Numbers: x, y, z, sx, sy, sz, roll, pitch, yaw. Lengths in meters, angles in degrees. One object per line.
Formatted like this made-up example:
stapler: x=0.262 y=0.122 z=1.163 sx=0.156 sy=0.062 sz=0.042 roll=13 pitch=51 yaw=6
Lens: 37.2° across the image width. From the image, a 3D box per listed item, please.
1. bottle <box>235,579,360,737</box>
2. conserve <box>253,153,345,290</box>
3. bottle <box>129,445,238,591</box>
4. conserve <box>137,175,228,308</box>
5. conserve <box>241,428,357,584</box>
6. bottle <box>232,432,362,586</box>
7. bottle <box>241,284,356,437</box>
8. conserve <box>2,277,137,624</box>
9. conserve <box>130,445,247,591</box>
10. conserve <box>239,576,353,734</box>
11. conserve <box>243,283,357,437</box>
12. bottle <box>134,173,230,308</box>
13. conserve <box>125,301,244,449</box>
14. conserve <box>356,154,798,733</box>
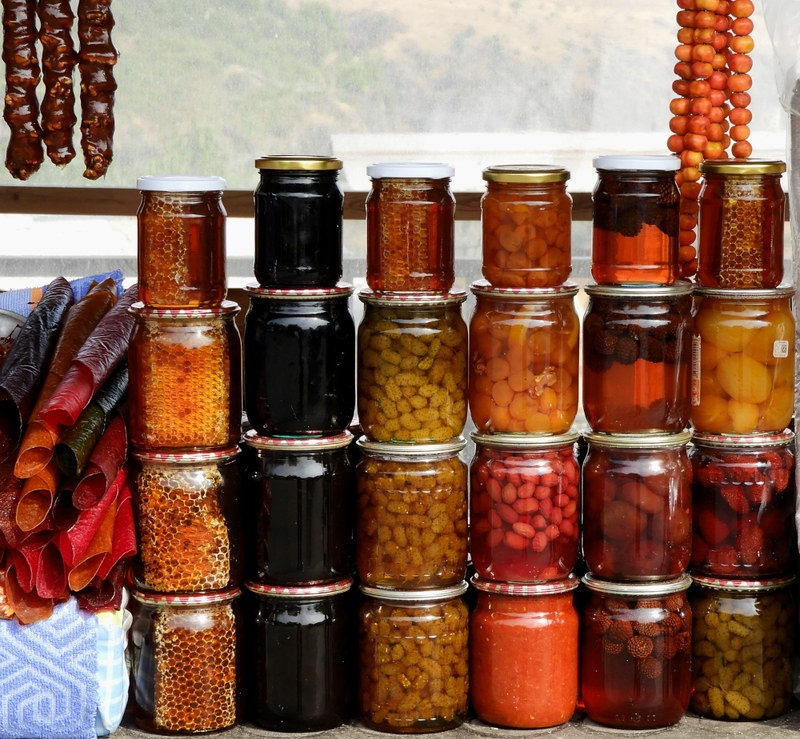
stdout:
bottle: x=-0.257 y=0.570 z=2.482 sx=0.301 sy=0.355 sz=0.268 roll=0 pitch=2 yaw=-9
conserve: x=-0.201 y=-0.286 z=2.356 sx=0.178 sy=0.255 sz=0.073 roll=-3 pitch=11 yaw=-4
bottle: x=-0.421 y=0.308 z=2.363 sx=0.211 sy=0.255 sz=0.105 roll=-4 pitch=11 yaw=-12
conserve: x=-0.439 y=-0.253 z=2.396 sx=0.186 sy=0.248 sz=0.170 roll=0 pitch=9 yaw=2
conserve: x=-0.191 y=0.279 z=2.543 sx=0.300 sy=0.344 sz=0.272 roll=0 pitch=0 yaw=17
bottle: x=-0.192 y=0.279 z=2.552 sx=0.302 sy=0.359 sz=0.274 roll=0 pitch=1 yaw=15
bottle: x=-0.202 y=-0.020 z=2.456 sx=0.243 sy=0.301 sz=0.222 roll=1 pitch=12 yaw=0
conserve: x=-0.692 y=0.123 z=2.416 sx=0.174 sy=0.751 sz=0.131 roll=-10 pitch=-42 yaw=33
conserve: x=-0.430 y=0.309 z=2.430 sx=0.223 sy=0.283 sz=0.211 roll=-4 pitch=-1 yaw=14
conserve: x=-0.205 y=0.566 z=2.413 sx=0.224 sy=0.291 sz=0.163 roll=-2 pitch=11 yaw=-1
conserve: x=-0.210 y=-0.023 z=2.464 sx=0.249 sy=0.309 sz=0.240 roll=0 pitch=5 yaw=-8
bottle: x=-0.439 y=-0.251 z=2.400 sx=0.187 sy=0.250 sz=0.170 roll=0 pitch=9 yaw=0
conserve: x=-0.426 y=0.017 z=2.364 sx=0.230 sy=0.286 sz=0.102 roll=-4 pitch=11 yaw=-9
conserve: x=0.473 y=0.147 z=2.429 sx=0.863 sy=1.143 sz=0.338 roll=-6 pitch=12 yaw=-17
